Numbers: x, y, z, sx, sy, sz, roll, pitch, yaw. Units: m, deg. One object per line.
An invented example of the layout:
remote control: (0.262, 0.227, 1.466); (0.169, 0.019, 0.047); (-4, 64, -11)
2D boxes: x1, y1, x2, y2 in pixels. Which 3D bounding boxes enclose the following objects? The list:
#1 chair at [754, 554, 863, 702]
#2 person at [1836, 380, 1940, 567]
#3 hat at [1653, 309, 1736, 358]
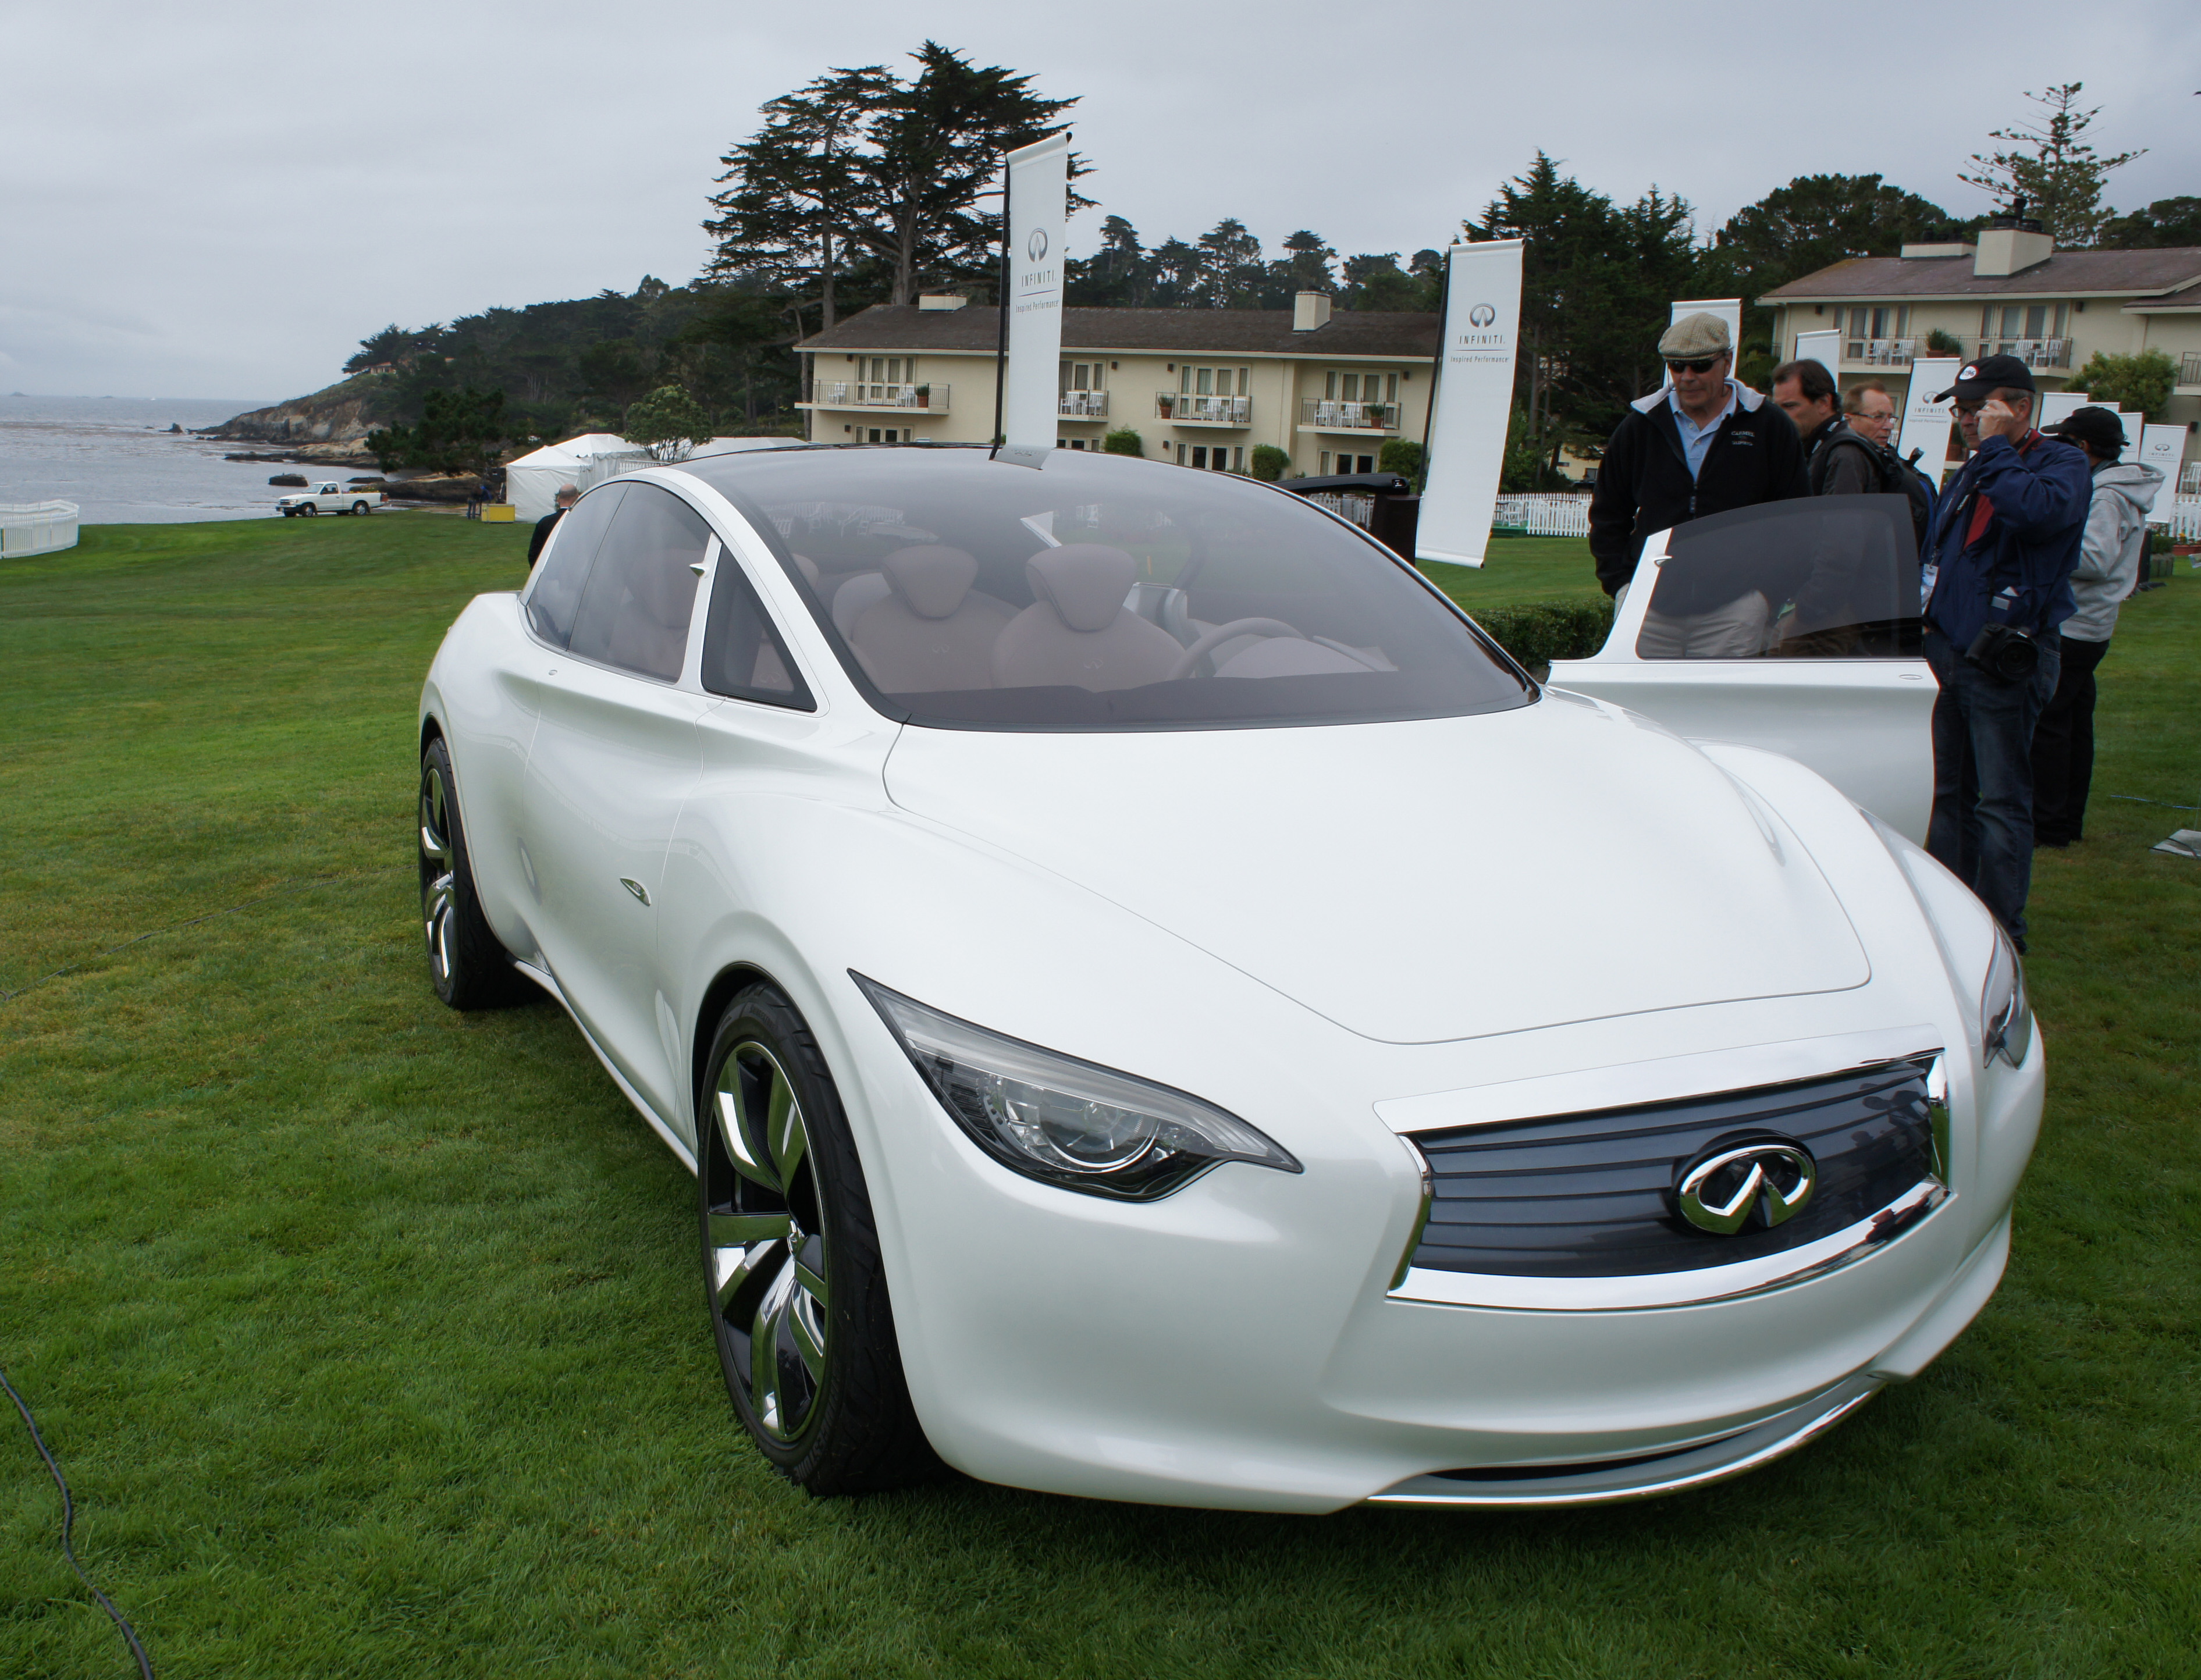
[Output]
chair: (-0.626, -0.444, 2.781); (0.173, 0.264, 0.214); (-20, 37, -22)
person: (3.707, -1.765, 6.284); (0.743, 0.803, 0.414); (-3, 3, -26)
hat: (2.542, -2.151, 5.505); (0.230, 0.257, 0.675); (7, 15, 27)
